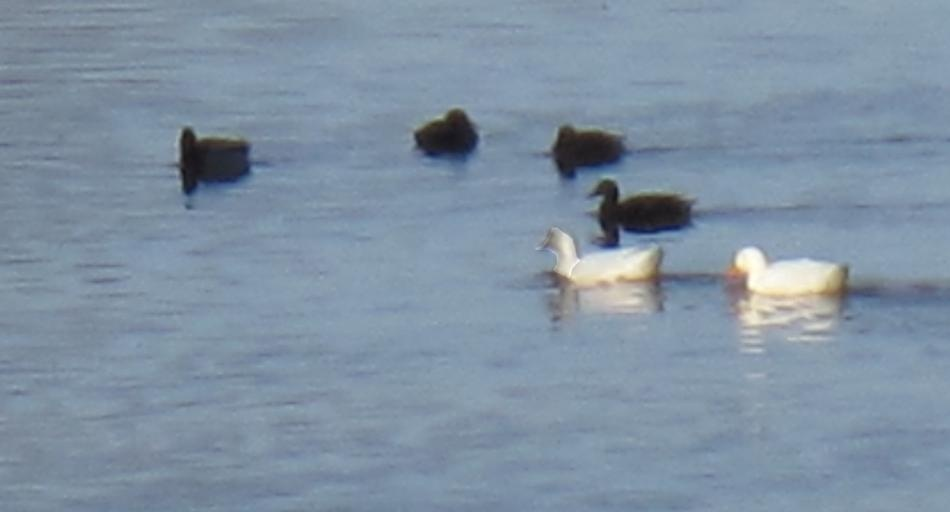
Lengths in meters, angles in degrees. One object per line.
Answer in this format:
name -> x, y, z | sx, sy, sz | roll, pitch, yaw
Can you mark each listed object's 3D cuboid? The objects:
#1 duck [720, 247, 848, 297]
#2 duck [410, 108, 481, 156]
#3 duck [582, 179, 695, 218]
duck -> 0.548, 0.032, 3.999 | 0.232, 0.074, 0.104 | 0, 21, 8
duck -> -0.068, -0.217, 3.980 | 0.112, 0.080, 0.038 | 0, -21, 2
duck -> 0.281, -0.087, 4.006 | 0.219, 0.088, 0.073 | -3, 8, -17
